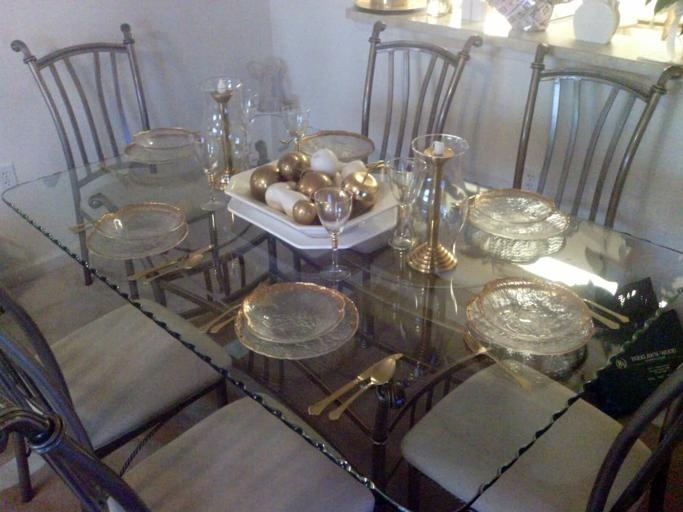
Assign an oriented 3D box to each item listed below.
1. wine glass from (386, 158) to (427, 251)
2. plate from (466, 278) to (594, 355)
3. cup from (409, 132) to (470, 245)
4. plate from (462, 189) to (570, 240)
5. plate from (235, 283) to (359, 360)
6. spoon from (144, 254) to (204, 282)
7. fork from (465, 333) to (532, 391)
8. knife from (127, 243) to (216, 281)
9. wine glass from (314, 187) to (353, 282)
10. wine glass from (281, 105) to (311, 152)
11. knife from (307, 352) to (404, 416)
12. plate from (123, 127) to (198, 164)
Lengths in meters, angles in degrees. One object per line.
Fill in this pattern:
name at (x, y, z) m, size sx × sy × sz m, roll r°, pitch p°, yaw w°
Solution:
wine glass at (0.166, -0.161, 1.417) m, size 0.098 × 0.261 × 0.141 m, roll 2°, pitch 33°, yaw 5°
plate at (0.442, 0.142, 1.217) m, size 0.185 × 0.041 × 0.191 m, roll -31°, pitch 41°, yaw -34°
cup at (0.249, -0.146, 1.435) m, size 0.176 × 0.275 × 0.186 m, roll -10°, pitch 3°, yaw 1°
plate at (0.513, -0.121, 1.544) m, size 0.282 × 0.059 × 0.216 m, roll 15°, pitch 36°, yaw 22°
plate at (-0.097, 0.153, 1.208) m, size 0.176 × 0.039 × 0.183 m, roll 9°, pitch 39°, yaw 8°
spoon at (-0.444, 0.027, 1.424) m, size 0.157 × 0.042 × 0.058 m, roll -19°, pitch 42°, yaw -30°
fork at (0.339, 0.231, 1.165) m, size 0.172 × 0.052 × 0.036 m, roll 26°, pitch 41°, yaw 34°
knife at (-0.459, 0.019, 1.431) m, size 0.158 × 0.024 × 0.033 m, roll -24°, pitch 25°, yaw -24°
wine glass at (-0.020, -0.082, 1.338) m, size 0.086 × 0.241 × 0.161 m, roll -1°, pitch 33°, yaw -1°
wine glass at (-0.153, -0.418, 1.826) m, size 0.105 × 0.180 × 0.104 m, roll 1°, pitch 20°, yaw -4°
knife at (0.050, 0.264, 1.120) m, size 0.272 × 0.033 × 0.072 m, roll -29°, pitch 45°, yaw -28°
plate at (-0.663, -0.410, 1.971) m, size 0.231 × 0.037 × 0.252 m, roll 8°, pitch 41°, yaw 2°
